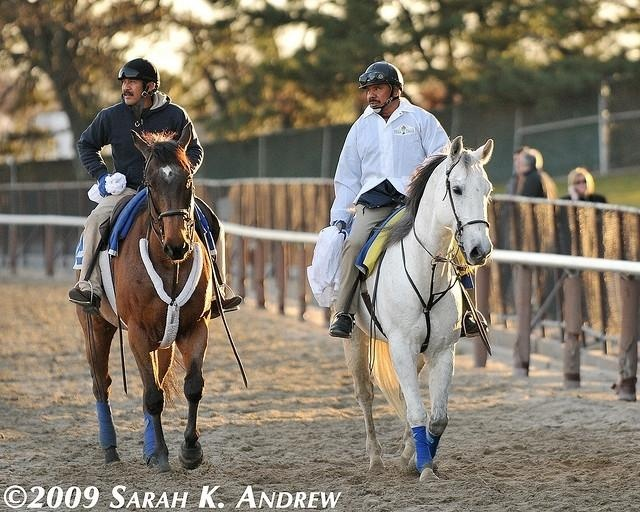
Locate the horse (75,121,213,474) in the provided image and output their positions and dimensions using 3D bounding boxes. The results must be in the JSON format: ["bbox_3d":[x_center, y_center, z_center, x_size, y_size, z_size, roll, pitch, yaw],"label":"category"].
[{"bbox_3d":[-1.910,0.484,18.223,1.964,3.931,1.341,0,3,43],"label":"horse"}]

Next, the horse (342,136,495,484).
[{"bbox_3d":[1.148,0.609,17.571,2.014,3.817,0.682,0,3,42],"label":"horse"}]

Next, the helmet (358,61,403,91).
[{"bbox_3d":[0.679,-2.140,18.170,0.415,0.277,0.305,10,-15,-35],"label":"helmet"}]

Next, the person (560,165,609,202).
[{"bbox_3d":[3.760,-0.971,22.056,0.395,0.800,1.440,-5,0,-1],"label":"person"}]

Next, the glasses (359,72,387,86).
[{"bbox_3d":[0.568,-2.044,18.111,0.343,0.165,0.133,-1,3,33],"label":"glasses"}]

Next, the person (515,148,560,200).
[{"bbox_3d":[3.169,-1.208,22.943,0.546,0.753,0.680,-2,3,7],"label":"person"}]
